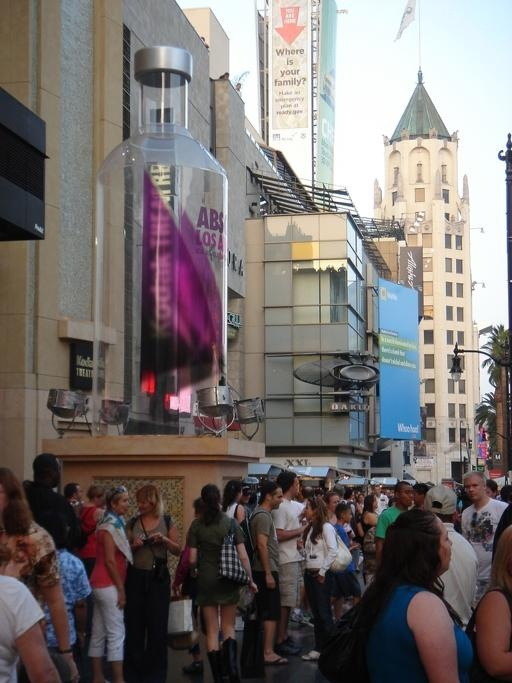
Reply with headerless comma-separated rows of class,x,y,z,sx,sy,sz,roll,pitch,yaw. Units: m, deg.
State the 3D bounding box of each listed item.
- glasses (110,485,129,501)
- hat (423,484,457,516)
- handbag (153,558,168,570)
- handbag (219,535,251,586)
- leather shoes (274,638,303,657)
glasses,-1.207,1.327,8.788,0.152,0.117,0.320,1,-5,-8
hat,1.356,1.131,7.389,0.141,0.162,0.256,6,25,12
handbag,-0.802,1.884,8.576,0.073,0.109,0.213,-1,-5,17
handbag,-0.204,1.931,8.904,0.148,0.463,0.338,-22,-40,34
leather shoes,0.349,3.358,11.093,0.207,0.113,0.128,-5,0,25
